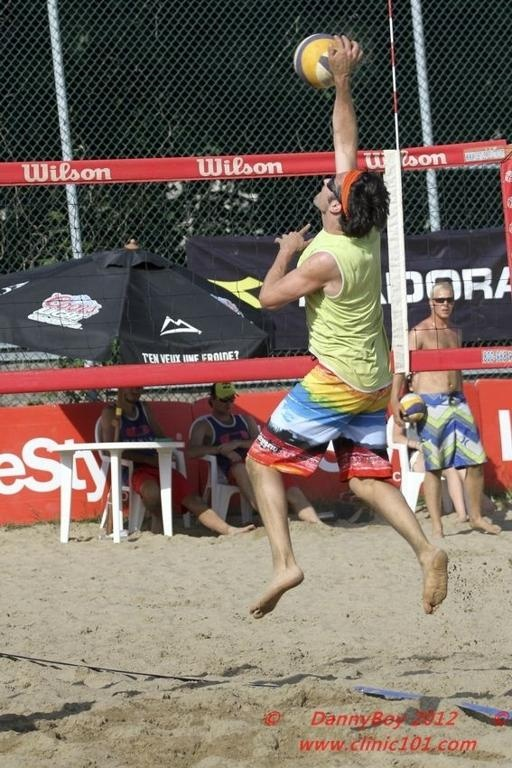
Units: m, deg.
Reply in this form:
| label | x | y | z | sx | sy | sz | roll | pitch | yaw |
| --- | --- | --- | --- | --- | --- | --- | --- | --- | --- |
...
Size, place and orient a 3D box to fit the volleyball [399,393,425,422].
| label | x | y | z | sx | sy | sz | roll | pitch | yaw |
| --- | --- | --- | --- | --- | --- | --- | --- | --- | --- |
| volleyball | 0.986 | 0.162 | 5.367 | 0.160 | 0.170 | 0.154 | 5 | 11 | -38 |

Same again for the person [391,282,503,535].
| label | x | y | z | sx | sy | sz | roll | pitch | yaw |
| --- | --- | --- | --- | --- | --- | --- | --- | --- | --- |
| person | 1.259 | 0.189 | 5.699 | 0.769 | 1.842 | 0.592 | -2 | 3 | 5 |

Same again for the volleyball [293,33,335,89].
| label | x | y | z | sx | sy | sz | roll | pitch | yaw |
| --- | --- | --- | --- | --- | --- | --- | --- | --- | --- |
| volleyball | 0.277 | -1.405 | 3.731 | 0.297 | 0.210 | 0.280 | 2 | 19 | 17 |

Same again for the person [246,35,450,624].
| label | x | y | z | sx | sy | sz | roll | pitch | yaw |
| --- | --- | --- | --- | --- | --- | --- | --- | --- | --- |
| person | 0.341 | -0.193 | 2.933 | 0.728 | 1.939 | 0.521 | 1 | -4 | 10 |
